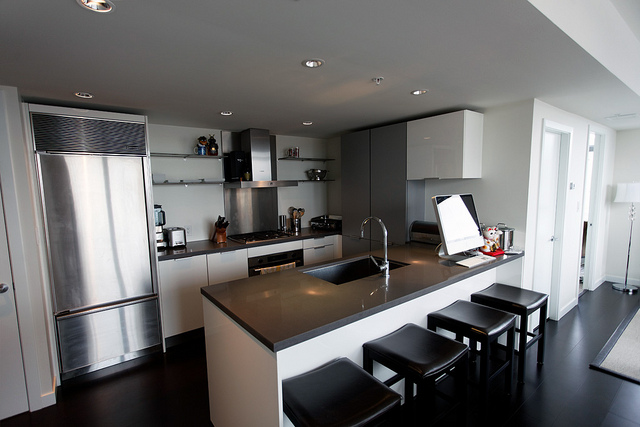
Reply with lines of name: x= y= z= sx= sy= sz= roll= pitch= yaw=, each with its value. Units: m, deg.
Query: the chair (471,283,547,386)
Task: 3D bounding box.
chair: x=2.023 y=1.251 z=4.634 sx=0.602 sy=0.841 sz=0.631 roll=-11 pitch=14 yaw=-38

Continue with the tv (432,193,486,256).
tv: x=1.513 y=0.109 z=4.693 sx=0.781 sy=0.642 sz=0.139 roll=-6 pitch=-3 yaw=-43

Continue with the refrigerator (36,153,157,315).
refrigerator: x=-2.575 y=0.189 z=4.838 sx=1.114 sy=1.950 sz=0.711 roll=-5 pitch=0 yaw=-42

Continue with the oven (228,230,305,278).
oven: x=-0.742 y=0.670 z=5.962 sx=0.849 sy=0.750 sz=0.552 roll=-9 pitch=13 yaw=-40

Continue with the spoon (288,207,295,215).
spoon: x=-0.441 y=-0.041 z=6.576 sx=0.082 sy=0.107 sz=0.044 roll=-7 pitch=6 yaw=-29

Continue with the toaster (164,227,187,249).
toaster: x=-1.803 y=0.310 z=5.354 sx=0.241 sy=0.247 sz=0.207 roll=-6 pitch=6 yaw=-21

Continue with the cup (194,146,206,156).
cup: x=-1.546 y=-0.798 z=5.538 sx=0.148 sy=0.122 sz=0.091 roll=-5 pitch=15 yaw=-29

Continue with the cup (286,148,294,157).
cup: x=-0.437 y=-0.906 z=6.369 sx=0.100 sy=0.140 sz=0.138 roll=-6 pitch=6 yaw=-18
